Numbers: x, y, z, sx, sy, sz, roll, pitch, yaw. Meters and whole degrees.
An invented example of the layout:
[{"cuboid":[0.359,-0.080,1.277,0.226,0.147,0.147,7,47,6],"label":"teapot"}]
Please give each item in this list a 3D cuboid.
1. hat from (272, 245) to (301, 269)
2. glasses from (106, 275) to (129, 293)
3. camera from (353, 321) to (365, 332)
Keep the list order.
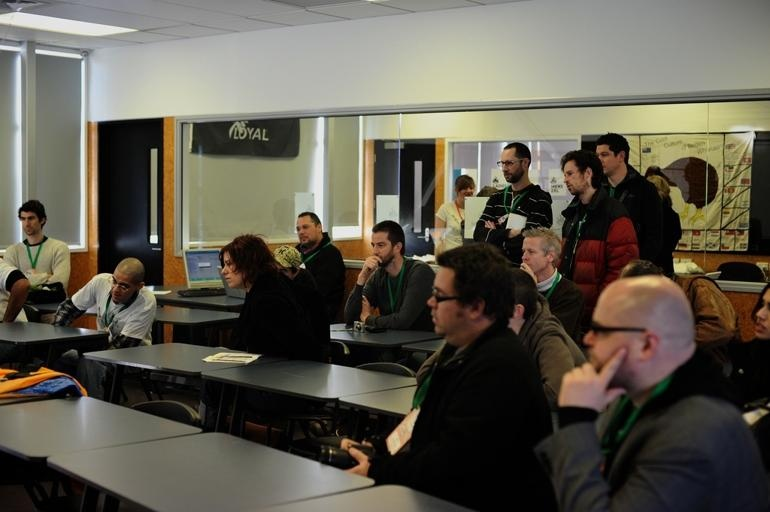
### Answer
[{"cuboid":[-0.822,0.035,4.858,0.215,0.113,0.153,25,23,-21],"label":"hat"},{"cuboid":[-2.161,0.235,4.761,0.136,0.136,0.046,14,9,9],"label":"glasses"},{"cuboid":[-0.233,0.619,5.104,0.133,0.113,0.069,-2,-5,39],"label":"camera"}]
